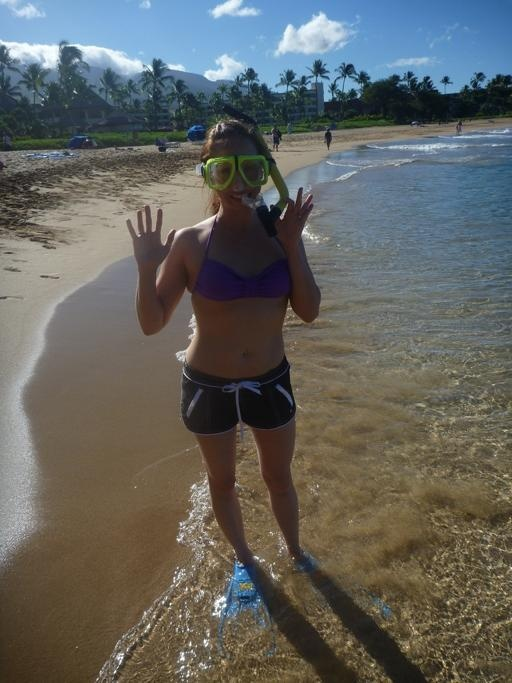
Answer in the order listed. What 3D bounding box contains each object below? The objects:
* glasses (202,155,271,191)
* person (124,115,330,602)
[{"bbox_3d":[-0.094,-0.655,2.030,0.277,0.127,0.187,-2,18,5],"label":"glasses"},{"bbox_3d":[-0.078,0.135,2.184,0.730,1.984,0.401,-8,18,-13],"label":"person"}]
